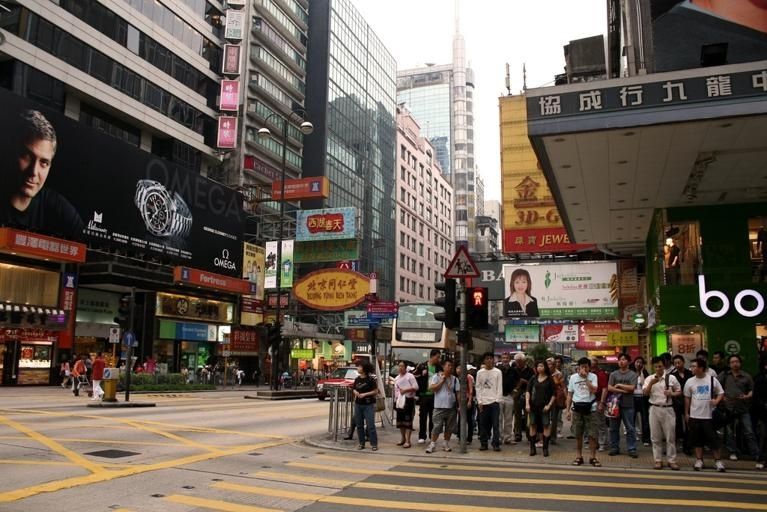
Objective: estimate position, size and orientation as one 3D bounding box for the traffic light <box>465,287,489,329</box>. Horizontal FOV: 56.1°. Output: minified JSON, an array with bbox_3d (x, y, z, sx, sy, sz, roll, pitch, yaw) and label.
[{"bbox_3d":[2.691,1.477,20.487,0.594,1.169,0.295,-4,-13,16],"label":"traffic light"}]

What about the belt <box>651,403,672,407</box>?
[{"bbox_3d":[7.429,3.982,19.125,0.465,0.099,0.088,0,-13,2],"label":"belt"}]

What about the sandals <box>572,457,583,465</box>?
[{"bbox_3d":[5.215,5.474,19.212,0.286,0.204,0.437,-4,-13,16],"label":"sandals"}]

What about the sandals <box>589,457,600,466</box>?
[{"bbox_3d":[5.622,5.454,19.061,0.308,0.203,0.264,-6,-14,24],"label":"sandals"}]

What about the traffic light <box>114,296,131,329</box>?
[{"bbox_3d":[-10.587,2.264,29.372,0.591,1.462,0.887,3,-13,-14],"label":"traffic light"}]
